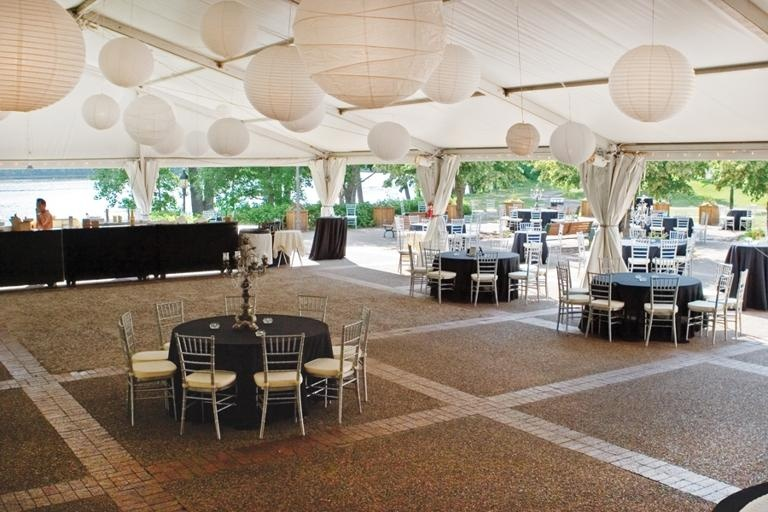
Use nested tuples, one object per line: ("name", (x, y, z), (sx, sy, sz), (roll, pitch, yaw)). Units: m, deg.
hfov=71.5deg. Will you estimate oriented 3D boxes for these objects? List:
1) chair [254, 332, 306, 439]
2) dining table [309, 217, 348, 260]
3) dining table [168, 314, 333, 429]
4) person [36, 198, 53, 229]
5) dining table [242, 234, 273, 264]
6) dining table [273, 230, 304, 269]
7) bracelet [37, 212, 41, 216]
("chair", (-1.152, 1.396, 5.941), (0.582, 1.073, 0.610), (-2, 11, -10))
("dining table", (-1.908, -0.615, 17.814), (1.704, 1.544, 1.269), (0, 8, -31))
("dining table", (-1.564, 1.289, 6.526), (1.432, 0.658, 1.382), (1, 7, -2))
("person", (-8.249, -1.039, 12.968), (0.312, 0.729, 0.856), (-7, 13, -33))
("dining table", (-3.499, -0.171, 15.132), (0.509, 0.956, 0.828), (1, 11, 4))
("dining table", (-2.941, -0.281, 16.291), (1.082, 1.149, 0.983), (0, 3, -31))
("bracelet", (-8.331, -1.039, 12.957), (0.173, 0.083, 0.030), (8, 14, 37))
